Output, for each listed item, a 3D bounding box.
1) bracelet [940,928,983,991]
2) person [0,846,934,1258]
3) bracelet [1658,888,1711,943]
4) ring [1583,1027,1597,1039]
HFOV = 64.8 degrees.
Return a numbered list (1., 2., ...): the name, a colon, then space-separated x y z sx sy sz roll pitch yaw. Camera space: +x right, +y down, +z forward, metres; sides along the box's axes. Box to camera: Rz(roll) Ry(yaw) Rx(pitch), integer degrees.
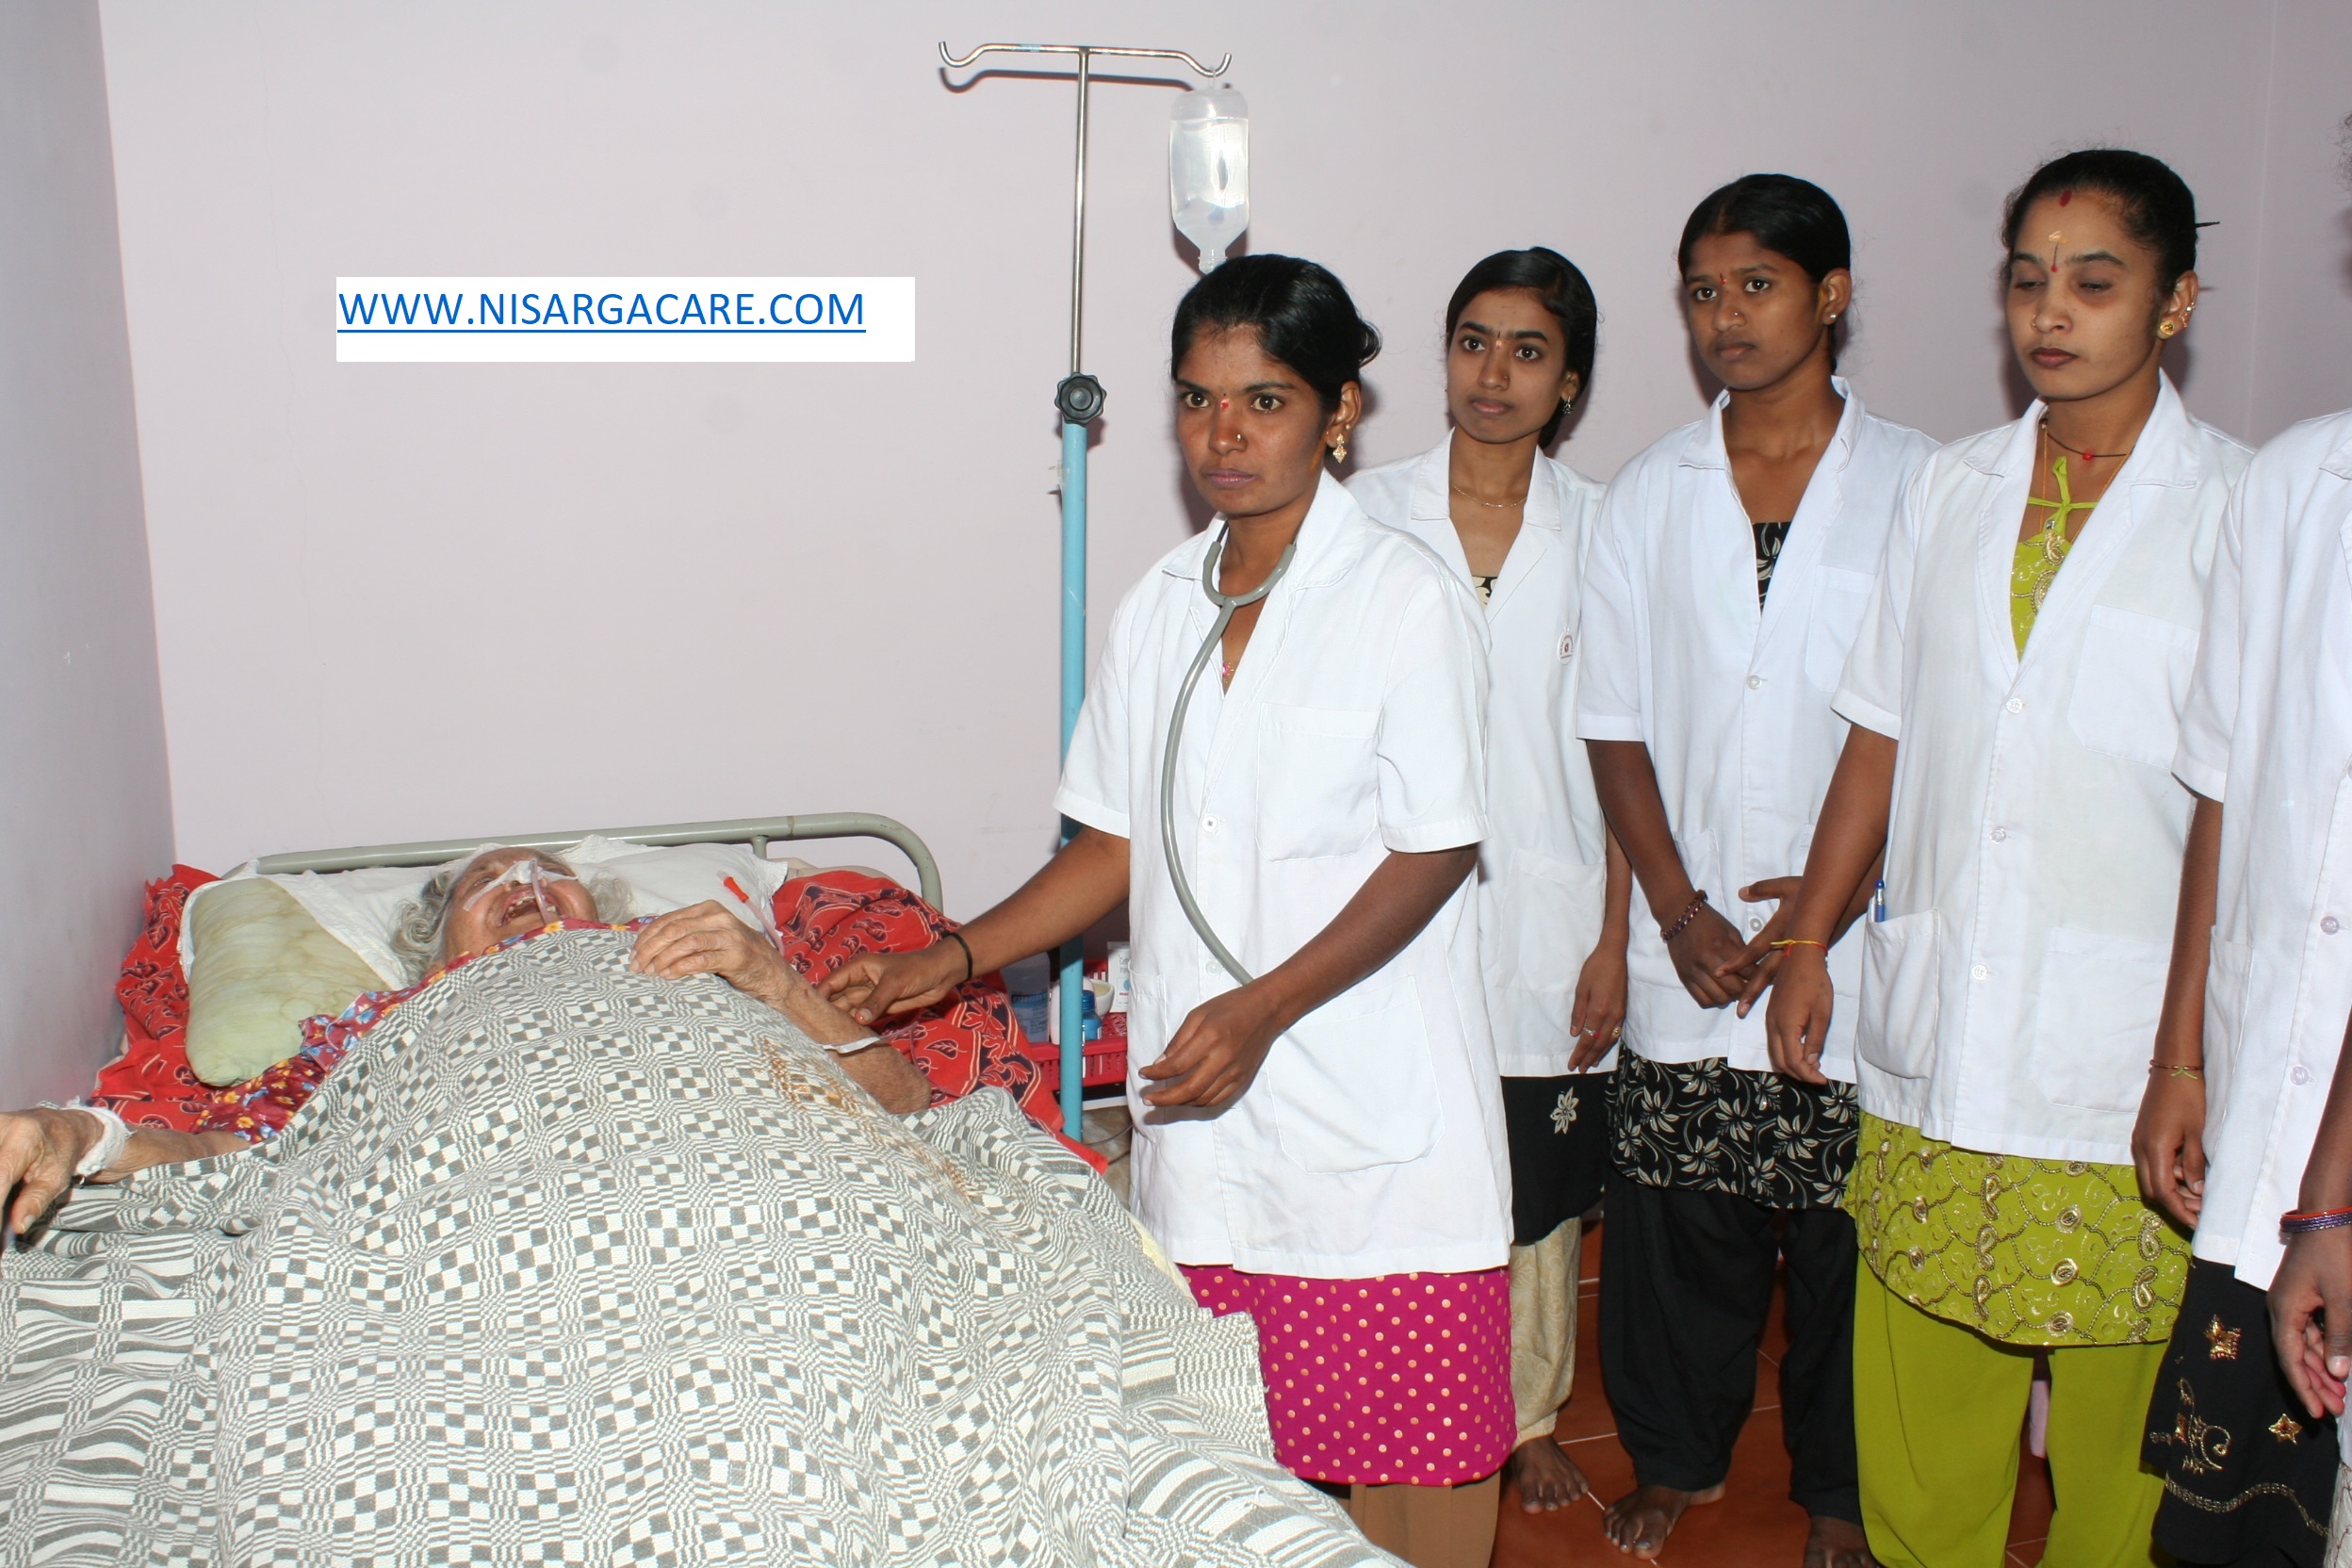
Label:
1. bracelet: -0.313 0.247 2.680 0.018 0.073 0.070 -12 44 -19
2. person: -1.131 0.316 2.555 0.825 0.250 0.604 -25 37 -38
3. bracelet: 0.820 0.216 2.998 0.079 0.032 0.071 -43 7 -8
4. ring: 0.701 0.419 3.137 0.019 0.019 0.005 -2 -4 4
